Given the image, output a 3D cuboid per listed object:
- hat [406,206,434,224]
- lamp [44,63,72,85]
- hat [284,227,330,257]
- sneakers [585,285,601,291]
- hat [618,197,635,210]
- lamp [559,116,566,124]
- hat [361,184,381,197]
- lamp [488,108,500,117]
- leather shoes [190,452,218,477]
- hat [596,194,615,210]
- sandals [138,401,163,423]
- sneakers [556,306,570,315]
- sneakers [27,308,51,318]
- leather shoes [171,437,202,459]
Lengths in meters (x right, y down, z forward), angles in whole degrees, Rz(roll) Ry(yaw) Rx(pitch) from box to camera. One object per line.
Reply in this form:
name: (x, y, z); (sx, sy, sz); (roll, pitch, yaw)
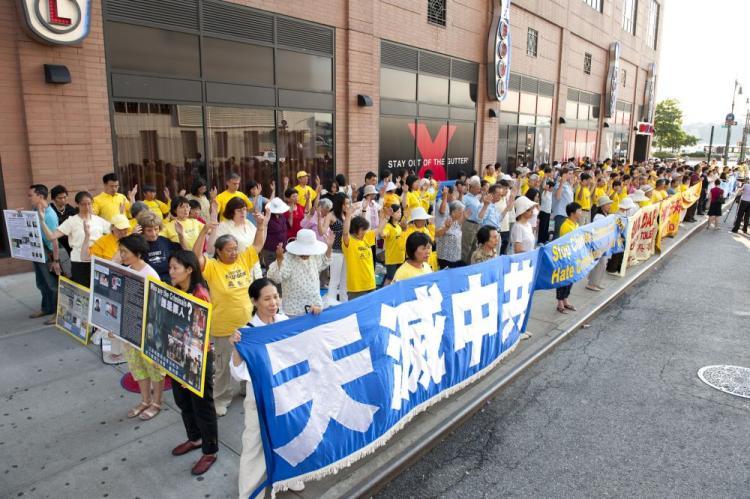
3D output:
hat: (0.826, -0.681, 8.662); (0.393, 0.176, 0.425); (-14, 1, -23)
lamp: (-6.805, -3.851, 9.788); (0.228, 0.444, 0.444); (3, 9, 28)
hat: (-0.994, -0.079, 6.642); (0.421, 0.180, 0.448); (3, 29, 3)
sneakers: (5.459, 0.967, 11.384); (0.369, 0.167, 0.118); (7, 36, 36)
hat: (6.737, -1.284, 12.303); (0.369, 0.180, 0.483); (0, 23, 9)
lamp: (11.505, -8.112, 27.948); (0.211, 0.442, 0.728); (7, 17, 38)
hat: (-0.054, -1.304, 9.810); (0.370, 0.192, 0.366); (-13, 14, -8)
lamp: (5.632, -6.789, 21.659); (0.365, 0.495, 0.731); (-1, 4, 29)
leather shoes: (-2.112, 2.695, 5.747); (0.121, 0.146, 0.365); (34, 28, 9)
hat: (5.927, -1.283, 11.822); (0.386, 0.183, 0.468); (-10, 7, 19)
sandals: (-3.171, 2.323, 6.430); (0.118, 0.125, 0.288); (2, 3, 9)
sneakers: (4.130, 1.332, 10.008); (0.116, 0.077, 0.220); (-14, 18, -34)
sneakers: (-6.515, 1.265, 8.879); (0.338, 0.258, 0.117); (11, 15, -43)
leather shoes: (-2.436, 2.593, 5.988); (0.408, 0.177, 0.153); (-6, 34, -32)
